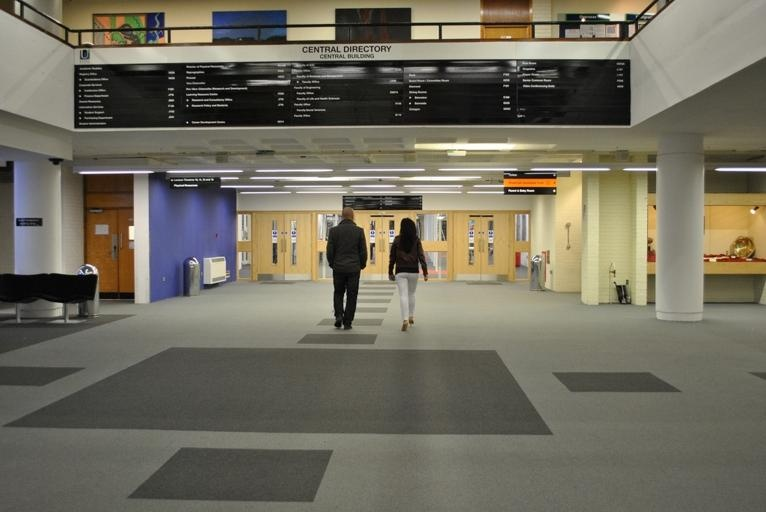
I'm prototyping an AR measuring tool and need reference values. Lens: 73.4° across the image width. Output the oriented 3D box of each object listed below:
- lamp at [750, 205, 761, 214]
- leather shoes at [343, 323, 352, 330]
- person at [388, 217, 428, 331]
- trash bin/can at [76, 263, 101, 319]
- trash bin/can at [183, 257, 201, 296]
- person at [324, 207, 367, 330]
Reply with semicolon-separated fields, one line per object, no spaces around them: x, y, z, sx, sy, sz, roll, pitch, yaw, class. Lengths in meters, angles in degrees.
10.031;-1.247;13.920;0.059;0.227;0.233;-3;9;-20;lamp
-0.652;1.291;9.629;0.117;0.110;0.108;0;-2;-3;leather shoes
0.483;0.344;9.621;0.701;2.109;1.438;0;8;3;person
-6.456;0.753;11.305;0.418;0.985;1.181;-5;10;-31;trash bin/can
-5.750;0.602;15.402;0.458;1.022;0.644;-2;9;-15;trash bin/can
-0.682;0.198;9.780;0.713;2.255;0.841;-1;8;-4;person
